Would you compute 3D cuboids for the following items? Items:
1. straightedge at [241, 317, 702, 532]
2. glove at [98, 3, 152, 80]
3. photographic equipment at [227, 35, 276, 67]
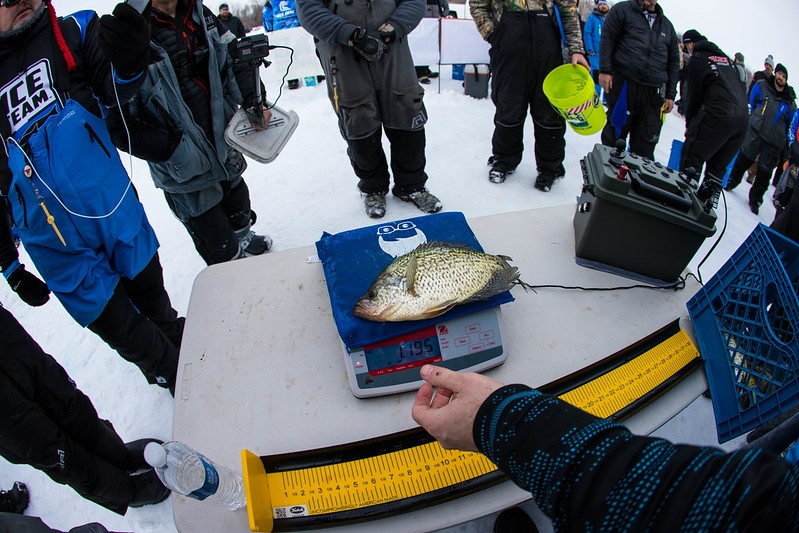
[{"bbox_3d":[0.246,0.643,2.118,1.935,0.227,0.353,-20,78,-13],"label":"straightedge"},{"bbox_3d":[-1.370,-1.088,2.653,0.247,0.363,0.143,-9,7,-5],"label":"glove"},{"bbox_3d":[-0.933,-1.351,3.343,0.178,0.169,0.243,-22,28,-9],"label":"photographic equipment"}]
